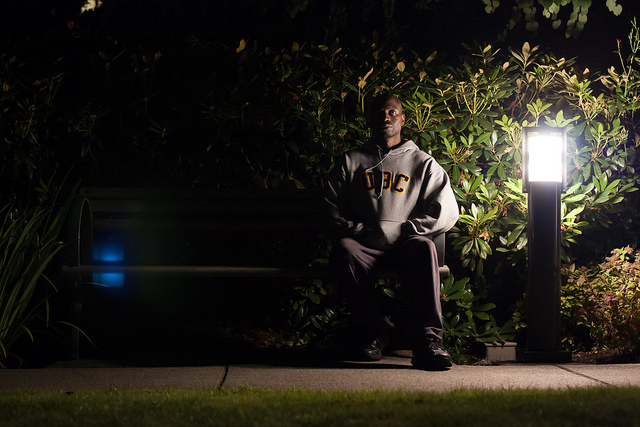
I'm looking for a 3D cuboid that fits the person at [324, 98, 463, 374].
[{"bbox_3d":[0.501,0.097,4.080,0.955,1.941,0.435,-1,-3,13],"label":"person"}]

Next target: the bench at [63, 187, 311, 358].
[{"bbox_3d":[-0.890,0.379,4.372,1.976,1.158,0.697,0,12,-14],"label":"bench"}]

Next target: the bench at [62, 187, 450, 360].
[{"bbox_3d":[-0.416,0.386,4.347,2.914,1.145,0.852,-1,14,-5],"label":"bench"}]
